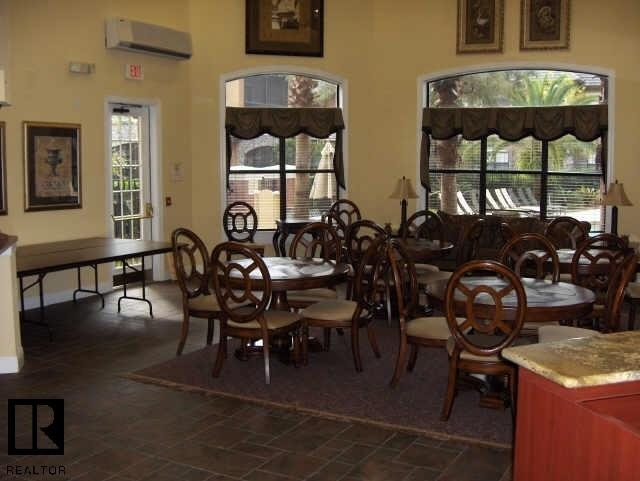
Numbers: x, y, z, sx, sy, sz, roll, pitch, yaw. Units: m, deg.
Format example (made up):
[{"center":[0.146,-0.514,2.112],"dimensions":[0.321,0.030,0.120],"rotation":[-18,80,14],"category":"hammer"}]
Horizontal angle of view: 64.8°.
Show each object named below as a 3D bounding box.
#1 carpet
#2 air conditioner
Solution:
[{"center":[0.122,1.183,4.363],"dimensions":[2.876,0.032,1.352],"rotation":[3,9,21],"category":"carpet"},{"center":[-2.480,-2.936,7.475],"dimensions":[0.290,0.444,1.405],"rotation":[13,16,31],"category":"air conditioner"}]
